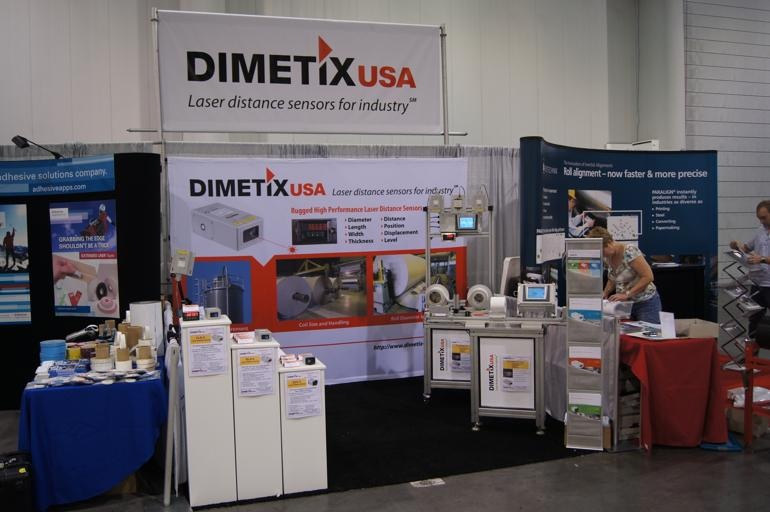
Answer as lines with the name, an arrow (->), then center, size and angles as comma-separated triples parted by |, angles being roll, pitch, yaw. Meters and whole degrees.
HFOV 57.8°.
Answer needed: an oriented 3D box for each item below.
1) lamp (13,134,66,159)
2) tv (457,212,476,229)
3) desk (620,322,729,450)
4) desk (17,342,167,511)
lamp -> -4.076, -1.288, 8.300 | 0.661, 0.282, 0.418 | 0, 6, 20
tv -> 0.978, -0.405, 8.183 | 0.262, 0.210, 0.149 | 1, 3, -1
desk -> 2.965, 1.364, 7.463 | 0.946, 1.002, 1.315 | -2, 4, -5
desk -> -2.764, 1.581, 6.559 | 1.105, 0.897, 1.121 | 3, -3, -28
